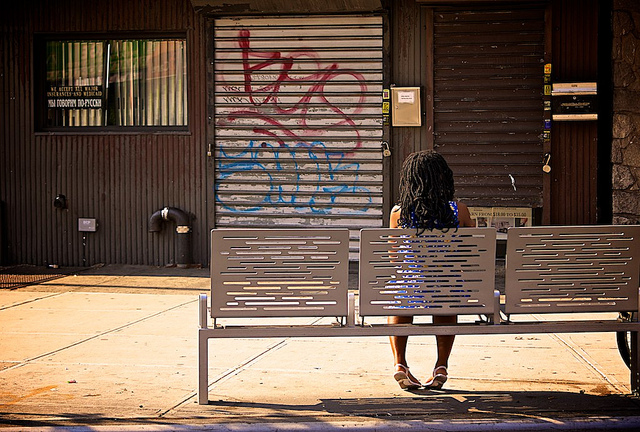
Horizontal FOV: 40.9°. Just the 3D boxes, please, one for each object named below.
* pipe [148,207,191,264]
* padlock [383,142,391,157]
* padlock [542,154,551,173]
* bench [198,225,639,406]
[{"bbox_3d":[-2.564,0.331,14.615,0.692,0.955,0.209,2,11,13],"label":"pipe"},{"bbox_3d":[1.085,-1.093,14.124,0.129,0.239,0.066,2,10,10],"label":"padlock"},{"bbox_3d":[3.637,-0.846,13.774,0.132,0.293,0.072,0,10,3],"label":"padlock"},{"bbox_3d":[0.985,0.929,8.502,4.326,1.698,0.561,-1,10,-3],"label":"bench"}]
